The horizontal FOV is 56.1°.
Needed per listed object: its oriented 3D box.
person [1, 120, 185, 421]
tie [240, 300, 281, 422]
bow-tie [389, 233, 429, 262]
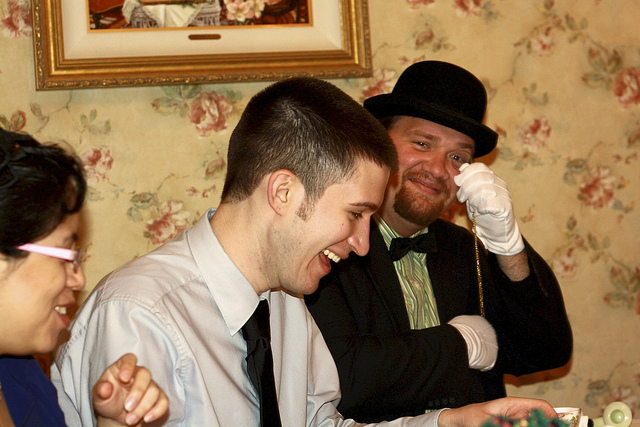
[{"bbox_3d":[-0.847,0.246,2.231,0.953,1.021,0.356,0,5,4],"label":"person"},{"bbox_3d":[-0.224,0.546,2.214,0.120,0.468,0.066,-7,-17,18],"label":"tie"},{"bbox_3d":[0.436,0.168,2.936,0.221,0.141,0.044,-6,-33,3],"label":"bow-tie"}]
